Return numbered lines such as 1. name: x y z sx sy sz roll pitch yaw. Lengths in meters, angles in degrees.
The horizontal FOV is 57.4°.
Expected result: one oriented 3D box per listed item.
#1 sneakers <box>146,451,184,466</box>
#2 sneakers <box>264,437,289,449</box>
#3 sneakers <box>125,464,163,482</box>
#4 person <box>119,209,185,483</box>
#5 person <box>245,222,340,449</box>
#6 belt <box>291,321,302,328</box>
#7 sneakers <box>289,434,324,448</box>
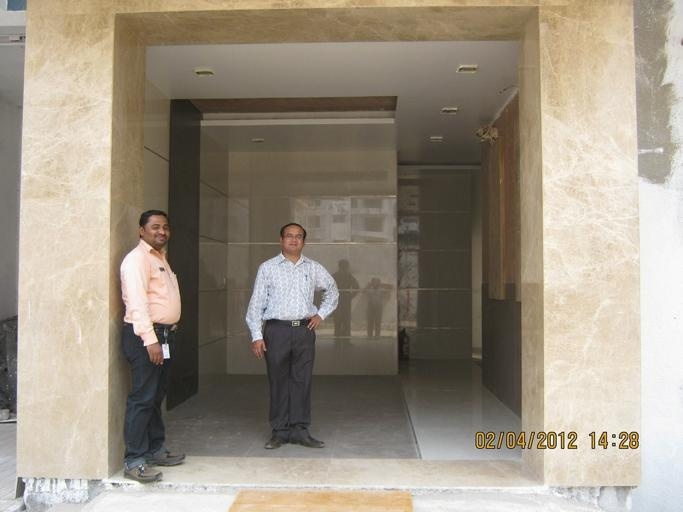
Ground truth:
1. sneakers: -1.346 1.533 4.758 0.250 0.107 0.107 1 -2 -9
2. sneakers: -0.557 1.580 5.222 0.074 0.077 0.193 -6 -16 22
3. sneakers: -1.420 1.556 4.481 0.228 0.099 0.125 5 -2 4
4. person: -1.425 0.649 4.643 0.415 1.972 0.495 0 -6 0
5. person: -0.425 0.674 5.369 0.762 1.886 0.287 1 -6 -9
6. belt: -0.381 0.573 5.259 0.082 0.051 0.017 2 -6 -23
7. sneakers: -0.284 1.566 5.295 0.301 0.128 0.103 -1 -8 17
